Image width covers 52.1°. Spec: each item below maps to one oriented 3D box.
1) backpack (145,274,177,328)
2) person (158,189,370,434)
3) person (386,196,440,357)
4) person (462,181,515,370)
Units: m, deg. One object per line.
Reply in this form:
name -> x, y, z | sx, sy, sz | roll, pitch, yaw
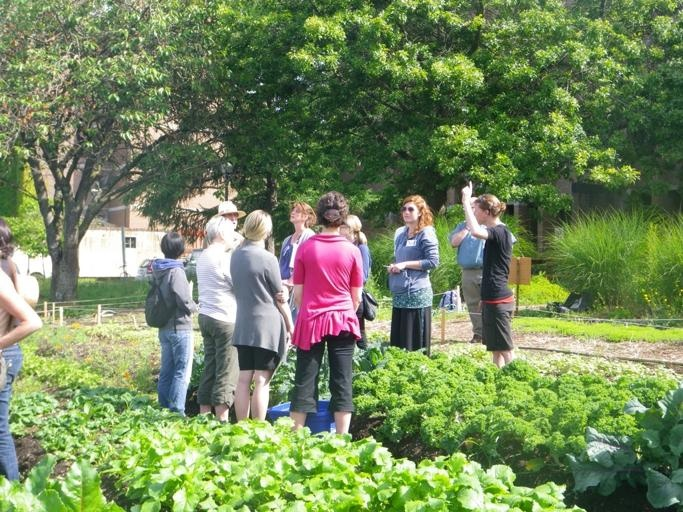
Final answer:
backpack -> -2.166, 0.542, 8.260 | 0.324, 0.569, 0.276 | 3, 12, 26
person -> -0.439, 0.587, 7.231 | 1.377, 2.419, 0.482 | -5, -5, 32
person -> 0.875, 0.200, 8.468 | 0.612, 1.938, 0.507 | -2, -4, 4
person -> 1.752, 0.219, 8.219 | 0.541, 2.199, 0.635 | -3, -4, 14
